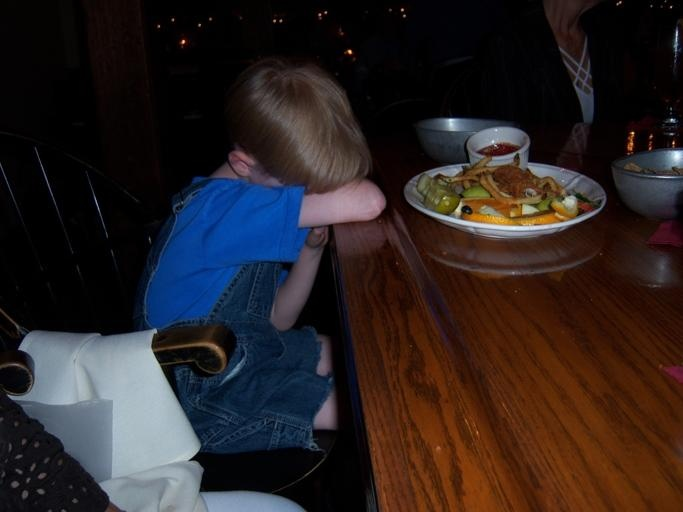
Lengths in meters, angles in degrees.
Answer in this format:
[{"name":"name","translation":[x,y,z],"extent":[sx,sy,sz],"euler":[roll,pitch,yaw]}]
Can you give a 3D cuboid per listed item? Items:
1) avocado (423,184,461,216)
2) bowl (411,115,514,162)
[{"name":"avocado","translation":[0.204,-0.118,0.974],"extent":[0.038,0.043,0.070],"euler":[9,19,-25]},{"name":"bowl","translation":[0.269,-0.305,1.299],"extent":[0.181,0.073,0.178],"euler":[11,21,-4]}]
